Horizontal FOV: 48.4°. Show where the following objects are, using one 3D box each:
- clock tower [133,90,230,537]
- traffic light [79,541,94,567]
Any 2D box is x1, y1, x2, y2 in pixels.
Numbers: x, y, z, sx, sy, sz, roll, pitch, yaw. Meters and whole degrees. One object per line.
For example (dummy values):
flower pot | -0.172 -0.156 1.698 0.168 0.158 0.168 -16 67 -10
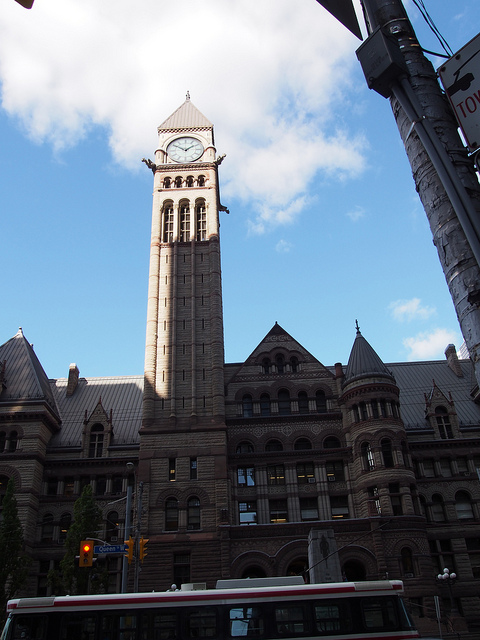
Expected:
clock tower | -5.316 -4.539 51.674 6.857 46.974 2.326 2 -29 -8
traffic light | -7.080 10.730 24.629 0.534 1.067 0.496 3 -29 -10
